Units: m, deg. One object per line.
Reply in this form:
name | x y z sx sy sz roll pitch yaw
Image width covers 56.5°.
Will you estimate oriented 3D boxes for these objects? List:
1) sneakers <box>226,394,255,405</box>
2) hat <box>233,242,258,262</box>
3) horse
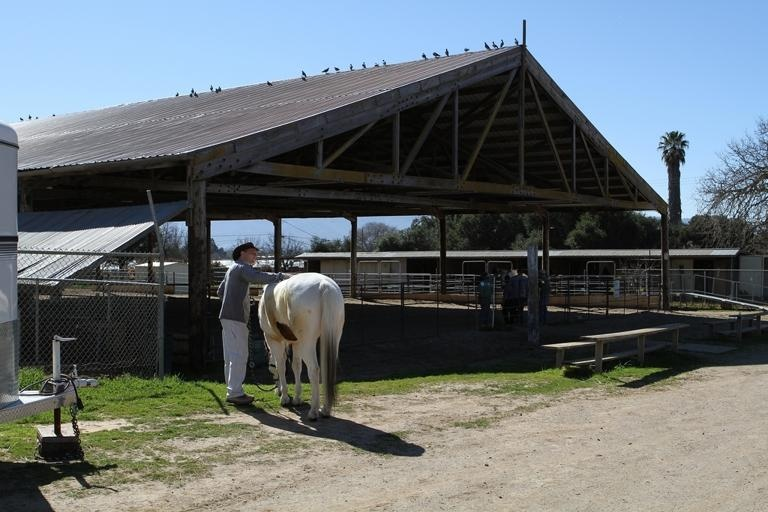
sneakers | -2.594 2.552 12.743 0.413 0.170 0.196 -2 1 -8
hat | -2.558 -0.101 12.977 0.378 0.342 0.310 -30 -11 18
horse | -1.460 1.529 12.542 0.869 2.472 1.845 1 -3 -37
